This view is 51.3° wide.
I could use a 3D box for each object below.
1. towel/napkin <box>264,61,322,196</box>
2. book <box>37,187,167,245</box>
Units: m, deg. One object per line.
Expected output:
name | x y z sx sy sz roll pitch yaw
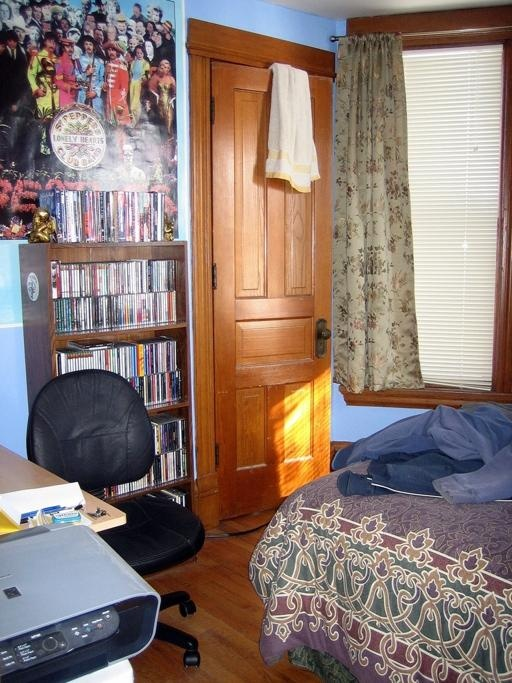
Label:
towel/napkin | 0.182 -1.127 2.850 0.288 0.648 0.153 -6 9 -44
book | -0.594 -0.510 2.215 0.465 0.226 0.069 -6 8 -42
